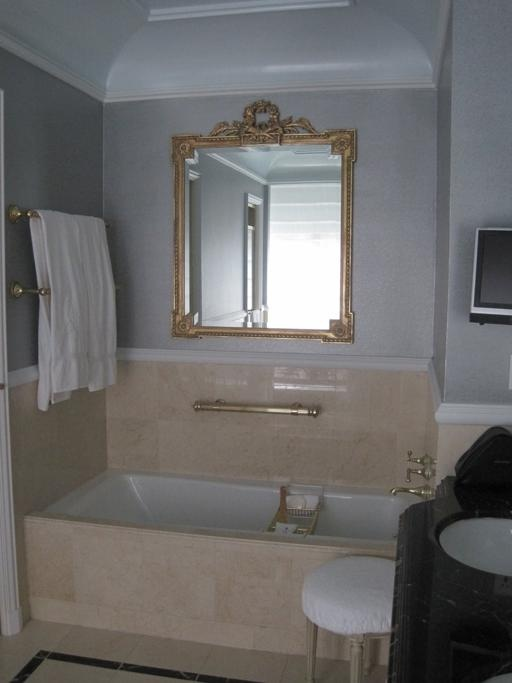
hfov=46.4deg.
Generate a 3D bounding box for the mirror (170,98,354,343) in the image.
[{"bbox_3d":[0.061,-0.615,2.846,1.084,1.453,0.084,1,7,10],"label":"mirror"}]

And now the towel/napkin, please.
[{"bbox_3d":[-0.794,-0.135,2.589,0.201,0.815,0.485,0,7,9],"label":"towel/napkin"}]

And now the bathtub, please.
[{"bbox_3d":[-0.112,0.788,2.781,1.561,0.279,0.686,-1,7,1],"label":"bathtub"}]
